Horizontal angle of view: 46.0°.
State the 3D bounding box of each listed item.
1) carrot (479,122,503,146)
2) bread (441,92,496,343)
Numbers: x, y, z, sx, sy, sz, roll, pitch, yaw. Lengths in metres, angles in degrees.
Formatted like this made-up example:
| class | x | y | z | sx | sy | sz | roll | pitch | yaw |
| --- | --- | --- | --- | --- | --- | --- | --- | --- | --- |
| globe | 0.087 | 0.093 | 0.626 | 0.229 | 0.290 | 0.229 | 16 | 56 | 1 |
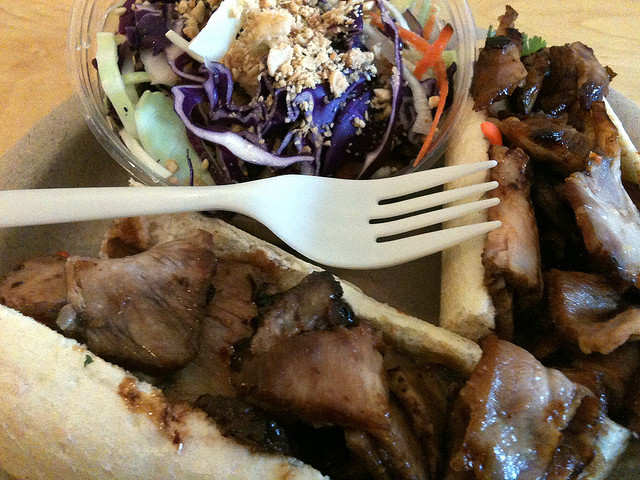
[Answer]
| class | x | y | z | sx | sy | sz | roll | pitch | yaw |
| --- | --- | --- | --- | --- | --- | --- | --- | --- | --- |
| carrot | 0.551 | -0.342 | 2.444 | 0.086 | 0.047 | 0.022 | 42 | 2 | -20 |
| bread | 0.488 | -0.078 | 2.466 | 0.172 | 0.733 | 0.194 | -9 | -16 | 41 |
